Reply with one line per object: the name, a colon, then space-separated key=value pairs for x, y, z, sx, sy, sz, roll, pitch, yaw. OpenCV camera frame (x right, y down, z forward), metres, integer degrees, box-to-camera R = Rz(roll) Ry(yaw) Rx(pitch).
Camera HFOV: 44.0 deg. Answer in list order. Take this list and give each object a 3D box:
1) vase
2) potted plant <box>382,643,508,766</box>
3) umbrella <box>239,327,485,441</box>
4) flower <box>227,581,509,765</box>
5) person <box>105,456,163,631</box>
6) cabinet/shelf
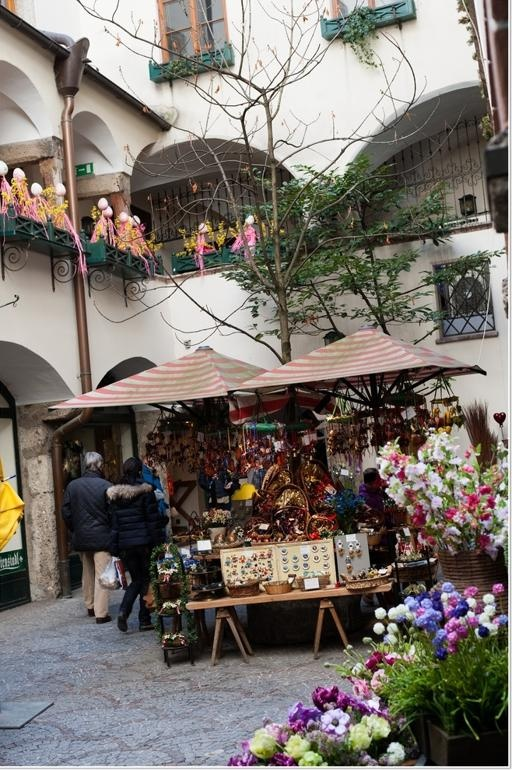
vase: x=0.864 y=0.775 z=2.492 sx=0.214 sy=0.204 sz=0.214 roll=3 pitch=-9 yaw=-27
potted plant: x=0.543 y=0.839 z=1.820 sx=0.361 sy=0.257 sz=0.358 roll=2 pitch=-13 yaw=-9
umbrella: x=1.127 y=-0.112 z=6.394 sx=1.822 sy=0.765 sz=2.396 roll=-10 pitch=-10 yaw=20
flower: x=0.387 y=0.894 z=1.890 sx=0.742 sy=0.337 sz=0.724 roll=-4 pitch=-4 yaw=-3
person: x=-1.263 y=1.812 z=6.733 sx=0.556 sy=1.547 sz=0.389 roll=-4 pitch=-10 yaw=-11
cabinet/shelf: x=-0.713 y=1.888 z=5.533 sx=0.364 sy=1.040 sz=0.358 roll=-15 pitch=-18 yaw=7
